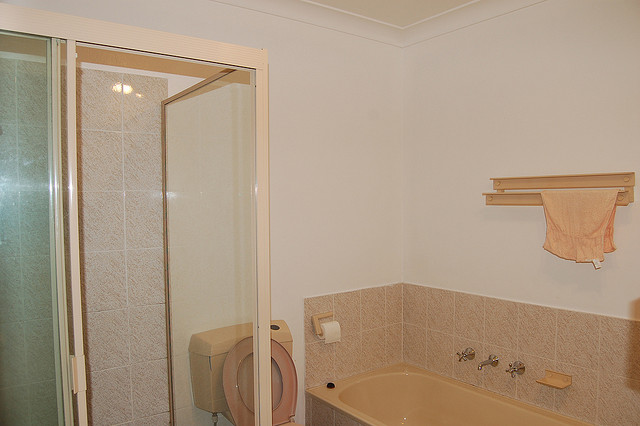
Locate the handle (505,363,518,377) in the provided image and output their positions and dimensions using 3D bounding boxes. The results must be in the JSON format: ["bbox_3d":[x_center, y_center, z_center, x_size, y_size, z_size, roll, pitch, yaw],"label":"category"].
[{"bbox_3d":[1.201,0.983,2.957,0.065,0.058,0.064,15,-26,-38],"label":"handle"}]

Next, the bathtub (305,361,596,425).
[{"bbox_3d":[0.674,1.302,3.109,1.540,0.306,0.875,-1,4,-2],"label":"bathtub"}]

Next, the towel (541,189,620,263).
[{"bbox_3d":[1.479,0.062,2.671,0.391,0.424,0.172,6,26,42],"label":"towel"}]
